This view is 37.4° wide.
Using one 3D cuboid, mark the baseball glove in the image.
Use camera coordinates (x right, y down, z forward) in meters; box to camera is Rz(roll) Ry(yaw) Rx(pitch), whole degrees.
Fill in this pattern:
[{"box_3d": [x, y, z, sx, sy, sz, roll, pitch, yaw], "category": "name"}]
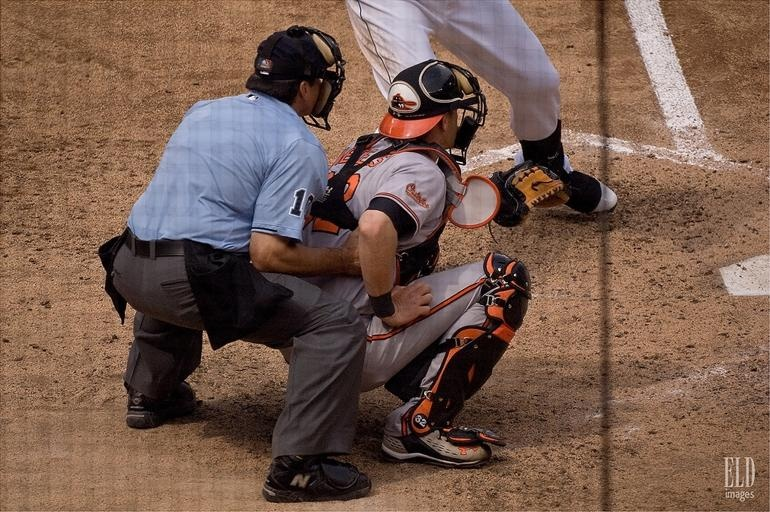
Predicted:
[{"box_3d": [1.144, -0.587, 8.647, 0.371, 0.284, 0.594, -20, 4, -1], "category": "baseball glove"}]
